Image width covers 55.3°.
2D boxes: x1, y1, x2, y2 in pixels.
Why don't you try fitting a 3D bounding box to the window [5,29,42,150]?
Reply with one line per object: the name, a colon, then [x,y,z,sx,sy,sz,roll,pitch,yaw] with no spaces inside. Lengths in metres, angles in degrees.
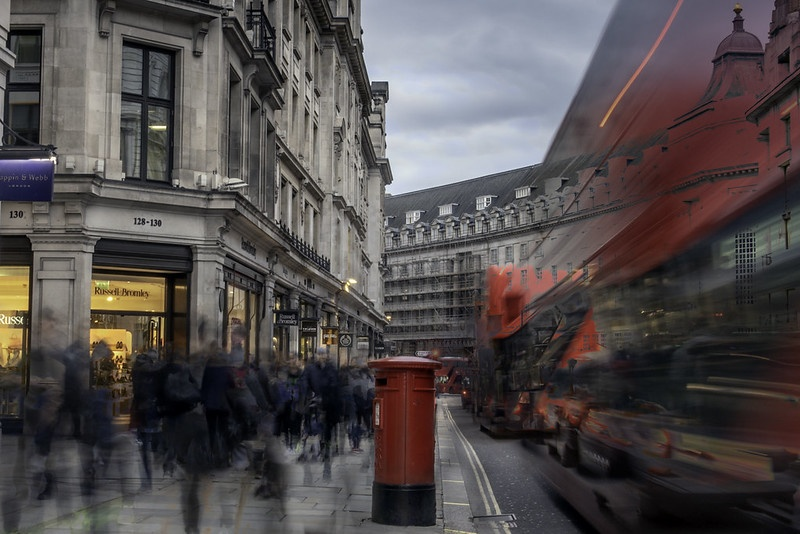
window: [-10.591,-5.104,21.457,1.184,3.213,0.388,3,-6,11]
